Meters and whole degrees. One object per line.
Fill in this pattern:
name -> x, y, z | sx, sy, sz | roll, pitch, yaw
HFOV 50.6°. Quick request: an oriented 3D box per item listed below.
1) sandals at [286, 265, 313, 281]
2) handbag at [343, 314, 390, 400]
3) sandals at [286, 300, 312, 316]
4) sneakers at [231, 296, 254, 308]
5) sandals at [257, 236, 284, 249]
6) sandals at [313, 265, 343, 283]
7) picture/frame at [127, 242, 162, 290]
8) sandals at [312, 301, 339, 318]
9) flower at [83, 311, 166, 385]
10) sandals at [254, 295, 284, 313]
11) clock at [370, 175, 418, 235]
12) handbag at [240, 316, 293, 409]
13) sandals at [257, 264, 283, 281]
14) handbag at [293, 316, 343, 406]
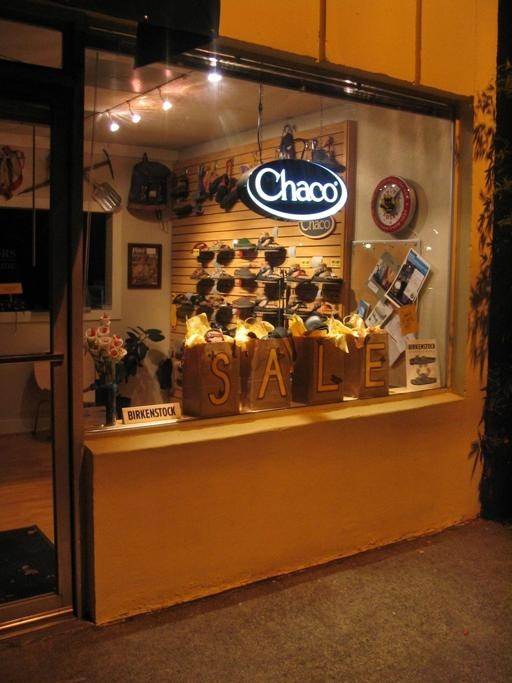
sandals -> 0.207, -0.326, 2.642 | 0.111, 0.075, 0.044 | 1, 2, -32
handbag -> 0.542, 0.073, 3.008 | 0.287, 0.547, 0.412 | 1, 1, -8
sandals -> 0.208, -0.159, 2.642 | 0.147, 0.066, 0.054 | 2, -1, -3
sneakers -> -0.057, -0.174, 2.513 | 0.034, 0.057, 0.136 | 4, 2, 37
sandals -> 0.060, -0.441, 2.486 | 0.122, 0.074, 0.042 | -2, 10, -9
sandals -> 0.364, -0.334, 2.736 | 0.183, 0.055, 0.032 | 1, 2, -38
picture/frame -> -0.450, -0.298, 2.135 | 0.015, 0.211, 0.177 | -2, -5, 41
sandals -> 0.355, -0.148, 2.721 | 0.175, 0.122, 0.058 | -3, 6, -28
flower -> -0.508, 0.029, 2.082 | 0.233, 0.249, 0.240 | 24, 31, 23
sandals -> 0.062, -0.169, 2.580 | 0.146, 0.104, 0.054 | -2, 2, -13
clock -> 0.741, -0.745, 2.930 | 0.268, 0.337, 0.055 | 9, 3, -20
handbag -> -0.014, 0.121, 2.522 | 0.229, 0.400, 0.299 | 4, -8, 15
sandals -> 0.062, -0.320, 2.594 | 0.139, 0.098, 0.050 | -3, 11, -16
handbag -> 0.300, 0.126, 2.605 | 0.284, 0.355, 0.062 | 1, 2, -33
